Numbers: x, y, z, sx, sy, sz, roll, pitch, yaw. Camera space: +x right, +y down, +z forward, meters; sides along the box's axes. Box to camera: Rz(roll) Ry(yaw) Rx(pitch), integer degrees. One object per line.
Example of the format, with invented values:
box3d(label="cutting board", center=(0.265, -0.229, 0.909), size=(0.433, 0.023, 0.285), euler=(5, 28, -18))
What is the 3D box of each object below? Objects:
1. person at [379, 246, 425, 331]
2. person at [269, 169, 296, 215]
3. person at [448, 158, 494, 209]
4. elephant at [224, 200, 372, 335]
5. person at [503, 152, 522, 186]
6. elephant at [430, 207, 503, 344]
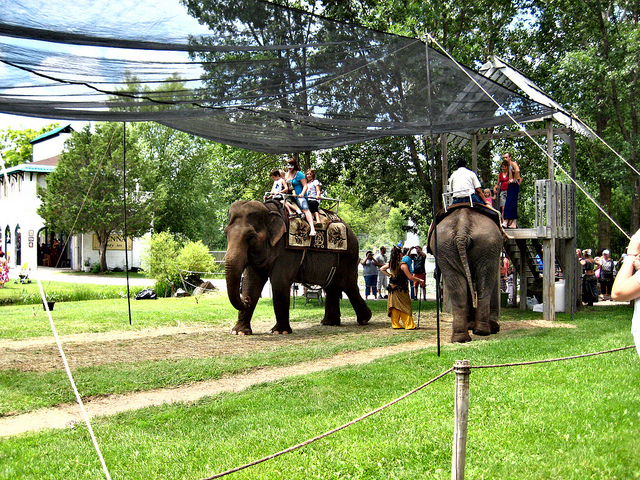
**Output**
box3d(label="person", center=(1.926, 1.164, 17.651), size=(0.863, 1.984, 1.335), euler=(-1, -1, 4))
box3d(label="person", center=(-1.003, -1.169, 17.981), size=(0.531, 1.411, 0.499), euler=(-6, 21, -2))
box3d(label="person", center=(3.422, -1.319, 17.024), size=(1.041, 1.480, 1.016), euler=(2, 13, 25))
box3d(label="elephant", center=(-0.565, 0.719, 18.003), size=(4.825, 3.084, 1.493), euler=(3, -6, -43))
box3d(label="person", center=(5.213, -1.921, 19.844), size=(0.403, 0.925, 1.087), euler=(-1, -2, 14))
box3d(label="elephant", center=(3.349, 0.708, 16.175), size=(1.391, 2.928, 0.978), euler=(-1, -1, -16))
